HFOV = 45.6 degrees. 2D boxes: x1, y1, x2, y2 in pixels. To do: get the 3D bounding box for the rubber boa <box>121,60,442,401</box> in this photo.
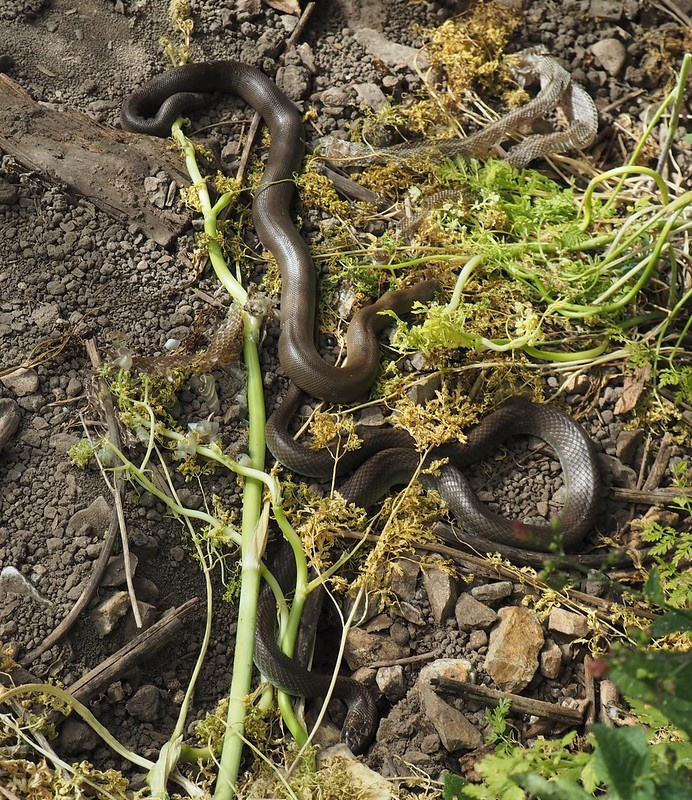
[{"bbox_3d":[-0.272,-0.700,3.588,1.104,0.242,1.771,-20,68,-8],"label":"rubber boa"}]
